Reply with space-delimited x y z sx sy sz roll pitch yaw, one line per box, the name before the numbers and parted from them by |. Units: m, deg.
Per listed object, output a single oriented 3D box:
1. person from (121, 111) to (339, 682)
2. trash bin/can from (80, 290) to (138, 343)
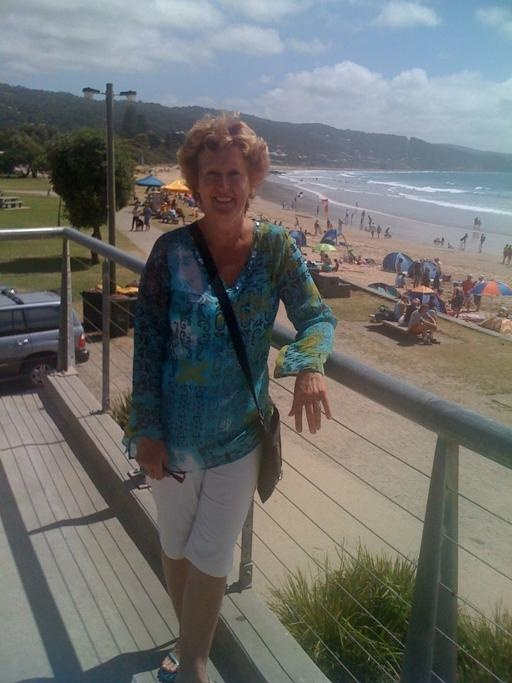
person | -0.065 0.150 1.117 0.489 1.352 0.457 8 17 9
trash bin/can | -3.257 -0.542 9.805 1.374 1.381 0.794 2 4 -3
